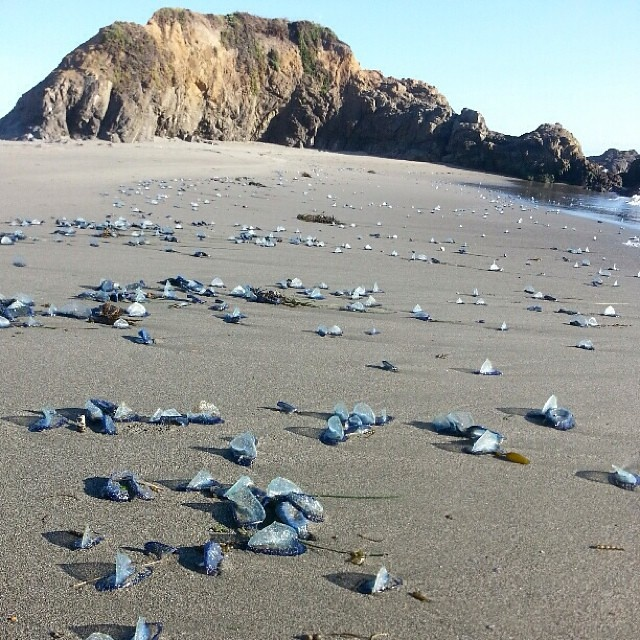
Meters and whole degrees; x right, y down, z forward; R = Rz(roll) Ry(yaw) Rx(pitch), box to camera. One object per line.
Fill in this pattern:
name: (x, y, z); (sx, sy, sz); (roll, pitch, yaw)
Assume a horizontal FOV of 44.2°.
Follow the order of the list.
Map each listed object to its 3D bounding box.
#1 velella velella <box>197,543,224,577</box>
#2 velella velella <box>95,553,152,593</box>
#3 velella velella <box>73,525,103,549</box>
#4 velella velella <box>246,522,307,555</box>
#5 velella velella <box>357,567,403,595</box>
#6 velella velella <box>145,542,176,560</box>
velella velella: (-0.377, 0.824, 2.739); (0.074, 0.078, 0.107); (7, 10, -9)
velella velella: (-0.670, 0.845, 2.646); (0.134, 0.063, 0.131); (-16, 23, -43)
velella velella: (-0.827, 0.764, 2.781); (0.082, 0.092, 0.071); (7, 24, -2)
velella velella: (-0.165, 0.778, 2.808); (0.147, 0.071, 0.113); (2, 6, -13)
velella velella: (0.196, 0.893, 2.706); (0.118, 0.047, 0.088); (-17, 20, -29)
velella velella: (-0.573, 0.792, 2.739); (0.078, 0.054, 0.034); (1, -16, -3)
